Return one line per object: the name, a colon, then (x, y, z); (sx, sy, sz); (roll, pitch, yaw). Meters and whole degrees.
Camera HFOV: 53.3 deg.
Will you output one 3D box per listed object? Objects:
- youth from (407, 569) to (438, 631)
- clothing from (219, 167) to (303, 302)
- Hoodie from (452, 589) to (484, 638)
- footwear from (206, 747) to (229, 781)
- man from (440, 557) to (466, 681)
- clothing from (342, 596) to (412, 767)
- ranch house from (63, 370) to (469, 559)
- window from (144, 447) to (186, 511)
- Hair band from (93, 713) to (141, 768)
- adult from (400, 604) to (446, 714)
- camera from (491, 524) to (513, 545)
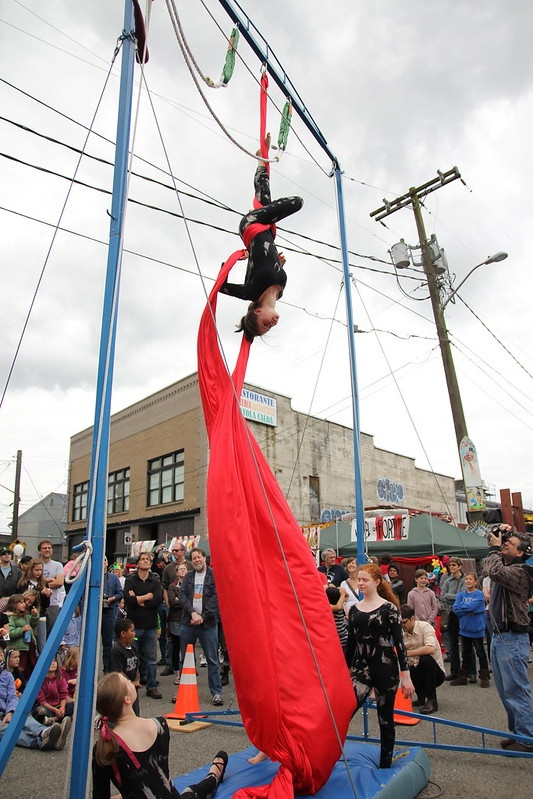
youth: (2.142, 2.974, 7.267); (0.362, 1.251, 0.411); (-1, -15, 10)
clothing: (-0.030, -1.295, 3.883); (0.509, 1.172, 0.540); (5, -17, -29)
Hoodie: (2.737, 2.874, 7.172); (0.318, 0.604, 0.372); (14, -19, -43)
footwear: (-0.285, 2.127, 3.099); (0.070, 0.087, 0.207); (-11, -7, 12)
man: (2.846, 3.293, 8.049); (0.421, 1.815, 0.441); (-3, 2, 26)
clothing: (0.718, 1.866, 3.613); (0.479, 1.368, 0.404); (-1, -5, 8)
ranch house: (-0.017, 3.410, 24.972); (11.765, 8.058, 11.624); (11, -20, -34)
window: (-4.046, 3.242, 21.557); (0.179, 2.070, 2.197); (15, -25, -37)
Hair band: (-0.602, 1.359, 2.078); (0.083, 0.192, 0.140); (-37, -17, 3)
adult: (1.622, 2.773, 5.714); (0.489, 1.026, 0.526); (1, -19, -7)
camera: (2.014, 1.154, 4.559); (0.135, 0.115, 0.183); (22, -11, -8)
